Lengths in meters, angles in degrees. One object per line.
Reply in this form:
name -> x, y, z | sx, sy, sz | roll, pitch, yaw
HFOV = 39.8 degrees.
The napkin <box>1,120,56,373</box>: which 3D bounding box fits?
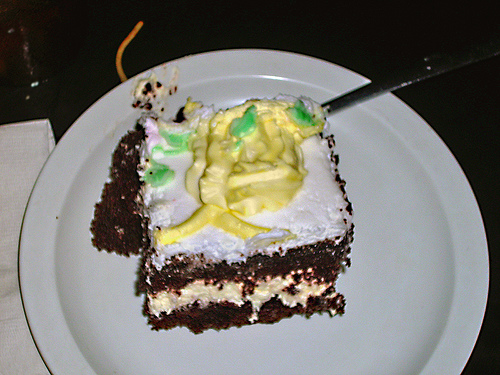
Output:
napkin -> -1.200, 0.287, 3.653 | 0.290, 0.184, 1.332 | -2, 86, -1
